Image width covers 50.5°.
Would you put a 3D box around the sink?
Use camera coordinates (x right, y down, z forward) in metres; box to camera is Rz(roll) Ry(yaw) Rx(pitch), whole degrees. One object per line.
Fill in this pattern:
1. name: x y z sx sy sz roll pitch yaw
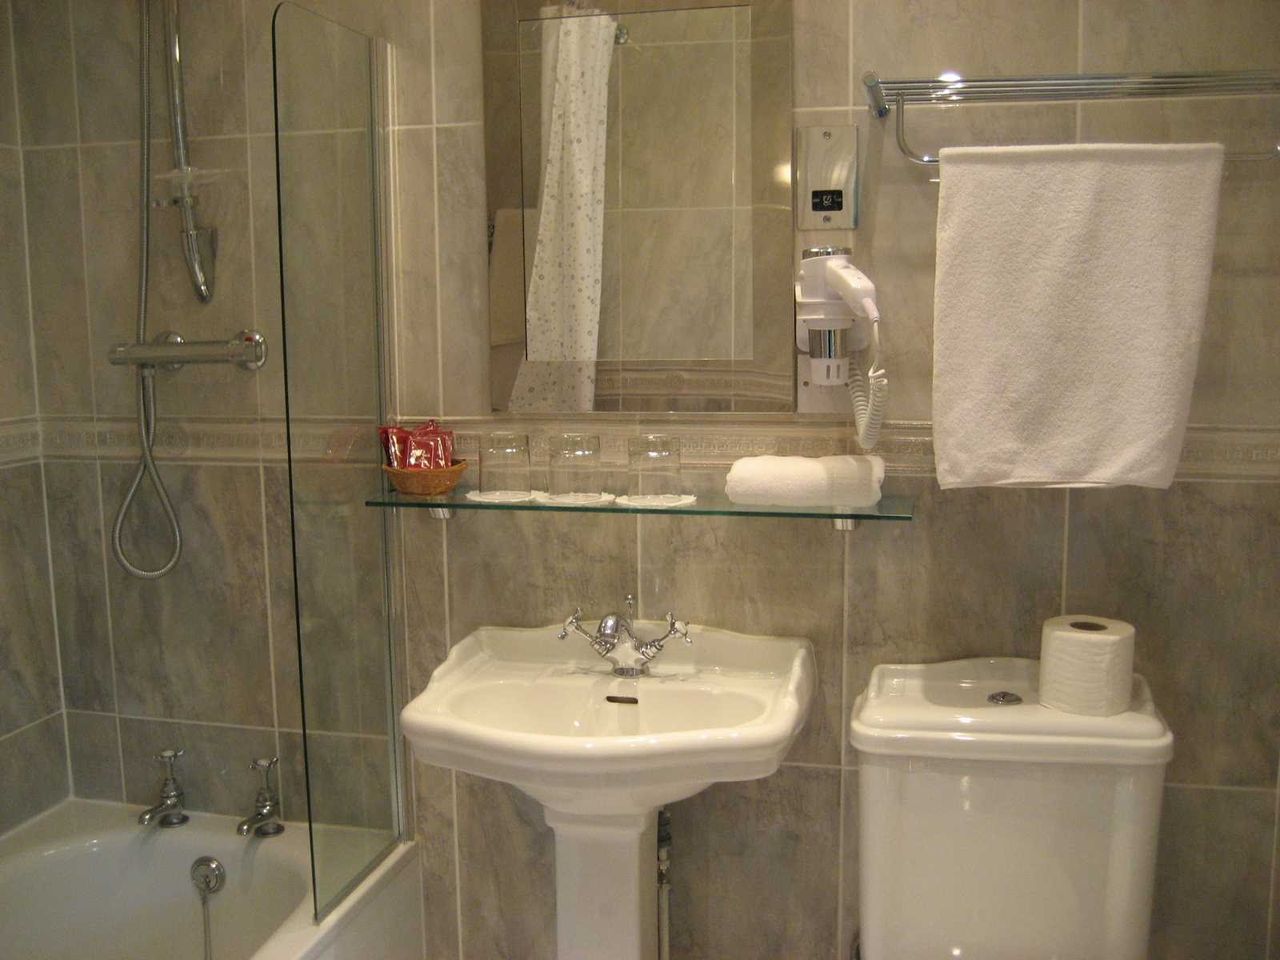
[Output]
1. sink: -0.059 0.519 2.887 0.833 0.372 0.472 3 5 9

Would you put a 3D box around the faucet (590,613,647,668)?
1. faucet: -0.045 0.357 2.964 0.110 0.087 0.106 11 13 38

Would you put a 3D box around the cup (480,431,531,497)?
1. cup: -0.296 -0.038 3.044 0.104 0.135 0.113 0 6 0

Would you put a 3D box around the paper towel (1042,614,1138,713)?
1. paper towel: 0.930 0.361 2.825 0.168 0.170 0.173 0 6 -3

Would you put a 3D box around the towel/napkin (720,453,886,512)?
1. towel/napkin: 0.345 0.000 2.886 0.324 0.114 0.131 2 5 3

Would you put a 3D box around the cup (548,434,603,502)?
1. cup: -0.138 -0.024 3.036 0.111 0.147 0.118 1 4 0

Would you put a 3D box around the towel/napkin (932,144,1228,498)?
1. towel/napkin: 0.878 -0.346 2.751 0.580 0.875 0.090 1 6 1

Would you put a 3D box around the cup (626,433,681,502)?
1. cup: 0.046 -0.035 2.933 0.102 0.176 0.112 0 1 5
